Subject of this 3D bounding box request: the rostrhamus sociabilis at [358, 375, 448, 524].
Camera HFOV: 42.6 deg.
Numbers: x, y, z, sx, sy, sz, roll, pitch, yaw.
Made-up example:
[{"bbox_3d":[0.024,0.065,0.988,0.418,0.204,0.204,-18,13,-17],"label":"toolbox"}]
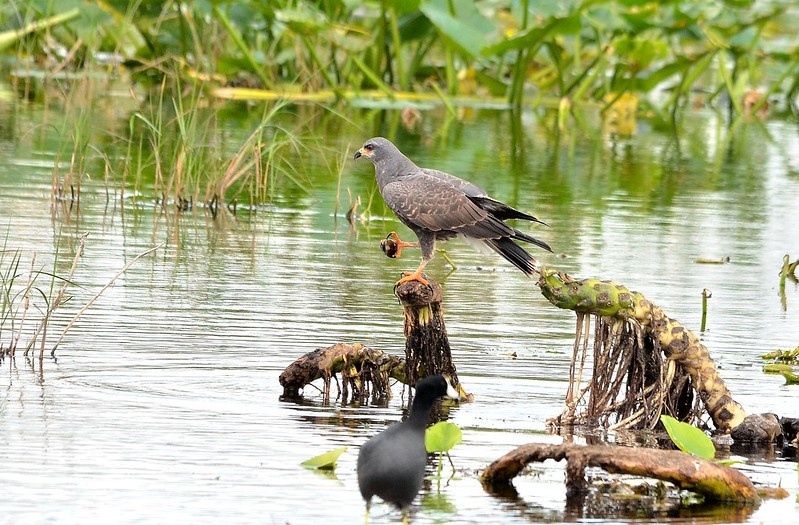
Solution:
[{"bbox_3d":[0.003,0.911,4.988,0.304,0.732,0.318,2,-4,39],"label":"rostrhamus sociabilis"}]
